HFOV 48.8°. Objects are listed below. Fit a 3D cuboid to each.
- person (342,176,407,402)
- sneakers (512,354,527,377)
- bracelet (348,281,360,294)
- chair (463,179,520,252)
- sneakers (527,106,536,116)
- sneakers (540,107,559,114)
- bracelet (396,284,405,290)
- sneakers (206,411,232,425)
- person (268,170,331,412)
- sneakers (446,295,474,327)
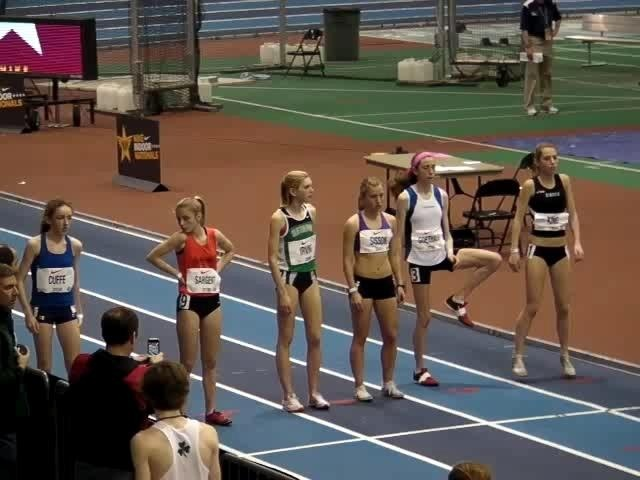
[{"bbox_3d":[0.534,0.483,7.015,0.613,2.186,0.763,1,15,3],"label":"person"},{"bbox_3d":[2.129,1.321,7.531,0.101,0.119,0.292,-3,22,1],"label":"sneakers"},{"bbox_3d":[0.322,0.458,6.811,0.097,0.127,0.159,1,15,2],"label":"bracelet"},{"bbox_3d":[2.746,-0.415,11.214,0.671,1.245,0.846,2,13,5],"label":"chair"},{"bbox_3d":[6.082,-3.690,20.284,0.172,0.210,0.285,0,5,-3],"label":"sneakers"},{"bbox_3d":[6.688,-3.773,20.477,0.482,0.229,0.193,-5,34,-4],"label":"sneakers"},{"bbox_3d":[0.796,0.461,7.067,0.051,0.040,0.069,1,3,-1],"label":"bracelet"},{"bbox_3d":[-0.921,1.604,6.408,0.268,0.123,0.102,3,9,12],"label":"sneakers"},{"bbox_3d":[-0.214,0.490,6.656,0.528,2.207,0.597,-2,15,-7],"label":"person"},{"bbox_3d":[1.646,0.854,8.385,0.204,0.428,0.147,-38,6,10],"label":"sneakers"}]
